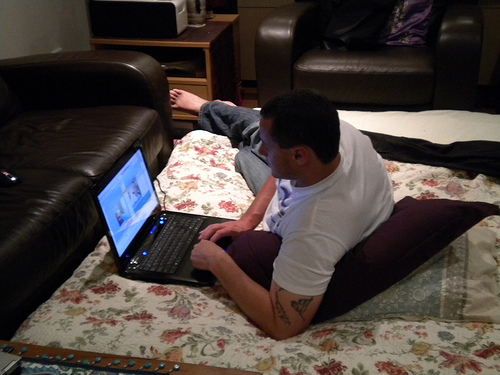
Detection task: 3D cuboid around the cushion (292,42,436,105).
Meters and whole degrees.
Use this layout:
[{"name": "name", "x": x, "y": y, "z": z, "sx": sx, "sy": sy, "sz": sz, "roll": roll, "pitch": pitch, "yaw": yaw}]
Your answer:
[{"name": "cushion", "x": 0.792, "y": -0.724, "z": 2.495, "sx": 0.906, "sy": 0.372, "sz": 0.709, "roll": 12, "pitch": 34, "yaw": 18}]
